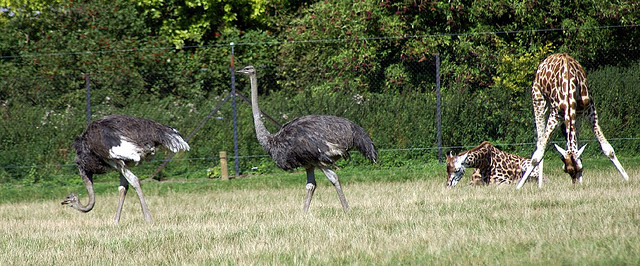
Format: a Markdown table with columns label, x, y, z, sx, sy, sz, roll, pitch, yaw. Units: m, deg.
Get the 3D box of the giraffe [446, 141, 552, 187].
| label | x | y | z | sx | sy | sz | roll | pitch | yaw |
| --- | --- | --- | --- | --- | --- | --- | --- | --- | --- |
| giraffe | 6.683 | 1.288 | 34.905 | 4.761 | 1.760 | 1.598 | 1 | -3 | -1 |
